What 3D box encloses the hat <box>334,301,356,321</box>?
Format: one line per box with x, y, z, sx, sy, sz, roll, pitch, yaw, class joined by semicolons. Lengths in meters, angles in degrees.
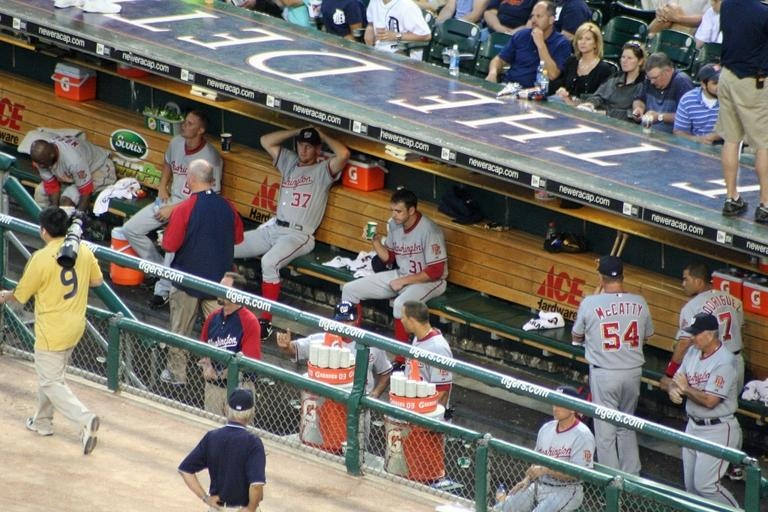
-0.444;0.640;19.468;0.273;0.232;0.183;0;-1;1;hat

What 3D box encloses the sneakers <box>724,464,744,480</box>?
3.834;2.396;19.627;0.142;0.118;0.291;-3;16;-2;sneakers

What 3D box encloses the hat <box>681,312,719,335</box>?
3.373;0.748;19.084;0.333;0.167;0.208;0;14;4;hat

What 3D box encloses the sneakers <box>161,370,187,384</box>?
-2.308;1.335;19.379;0.241;0.094;0.155;0;-1;44;sneakers

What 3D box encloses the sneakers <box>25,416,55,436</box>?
-3.534;1.760;18.352;0.370;0.148;0.129;6;19;14;sneakers

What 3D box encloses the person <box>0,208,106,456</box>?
-3.337;0.761;18.122;1.128;1.610;0.490;10;5;-2;person

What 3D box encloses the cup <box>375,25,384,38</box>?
-0.079;-2.932;24.109;0.176;0.158;0.259;-3;12;-2;cup

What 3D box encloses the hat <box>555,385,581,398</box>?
1.822;1.375;17.937;0.160;0.049;0.158;10;-1;36;hat

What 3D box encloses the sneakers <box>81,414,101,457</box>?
-2.974;1.825;18.084;0.151;0.408;0.195;8;7;-37;sneakers

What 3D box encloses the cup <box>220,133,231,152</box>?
-2.094;-1.407;23.357;0.222;0.224;0.215;0;5;0;cup

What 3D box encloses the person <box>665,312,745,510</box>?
3.476;1.624;19.159;0.930;1.711;0.631;11;5;14;person

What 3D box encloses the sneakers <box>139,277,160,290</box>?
-3.018;0.388;22.889;0.152;0.188;0.192;-1;-2;-13;sneakers

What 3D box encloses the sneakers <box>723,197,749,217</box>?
3.740;-0.484;19.101;0.142;0.127;0.296;10;21;35;sneakers

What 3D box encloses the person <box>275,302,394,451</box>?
-0.573;1.327;19.362;1.434;1.465;0.812;1;6;-19;person

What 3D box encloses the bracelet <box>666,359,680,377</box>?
3.140;1.266;19.646;0.162;0.156;0.160;2;4;1;bracelet

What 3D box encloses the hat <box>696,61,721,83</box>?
3.758;-2.081;21.061;0.306;0.149;0.217;-8;26;39;hat

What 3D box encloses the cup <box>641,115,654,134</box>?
3.106;-1.499;21.218;0.147;0.174;0.223;10;5;7;cup

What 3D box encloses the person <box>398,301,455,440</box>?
0.413;1.270;18.823;0.468;1.480;0.547;-14;45;0;person

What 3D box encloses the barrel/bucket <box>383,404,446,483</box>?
0.205;1.943;18.392;0.712;0.679;0.677;1;5;0;barrel/bucket
